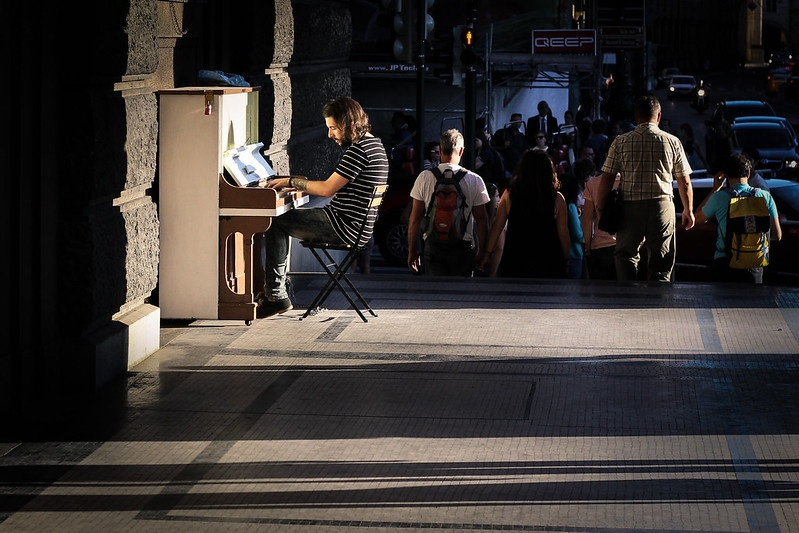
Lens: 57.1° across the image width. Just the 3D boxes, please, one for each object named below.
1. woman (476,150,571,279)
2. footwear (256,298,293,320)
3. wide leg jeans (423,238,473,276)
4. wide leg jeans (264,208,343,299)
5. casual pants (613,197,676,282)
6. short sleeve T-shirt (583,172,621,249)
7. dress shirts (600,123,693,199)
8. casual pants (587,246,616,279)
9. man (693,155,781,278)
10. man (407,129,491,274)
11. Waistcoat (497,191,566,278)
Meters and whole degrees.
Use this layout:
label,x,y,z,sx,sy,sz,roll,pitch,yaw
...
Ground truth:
label,x,y,z,sx,sy,sz,roll,pitch,yaw
woman,1.552,-0.582,8.841,0.994,1.598,0.642,2,10,12
footwear,-1.342,0.443,7.744,0.423,0.231,0.165,0,13,6
wide leg jeans,0.558,-0.091,8.687,0.611,0.639,0.385,0,16,0
wide leg jeans,-0.960,-0.179,7.993,0.864,1.222,0.800,1,7,-4
casual pants,2.914,-0.432,8.762,0.701,1.422,0.481,-1,49,15
short sleeve T-shirt,2.718,-0.713,9.666,0.653,0.955,0.312,0,-7,28
dress shirts,2.885,-1.231,8.562,0.978,0.904,0.456,0,24,18
casual pants,2.709,-0.066,9.825,0.289,0.448,0.260,6,24,23
man,4.110,-0.307,8.938,0.763,1.858,0.781,-14,13,-37
man,0.563,-0.341,8.744,0.923,2.462,0.588,0,25,4
Waistcoat,1.633,-0.393,9.139,0.764,1.168,0.556,-2,-17,19
